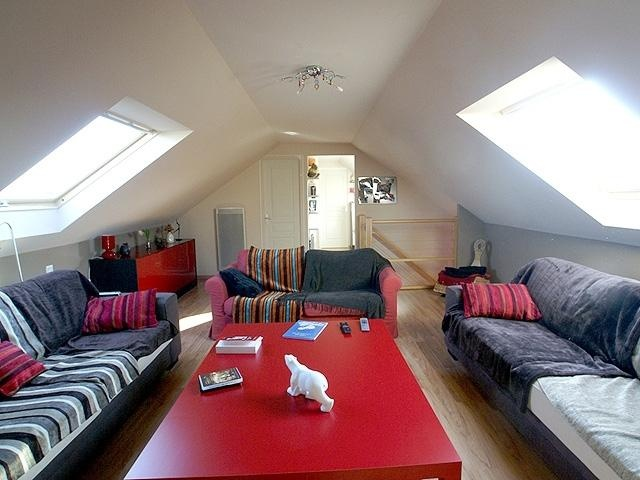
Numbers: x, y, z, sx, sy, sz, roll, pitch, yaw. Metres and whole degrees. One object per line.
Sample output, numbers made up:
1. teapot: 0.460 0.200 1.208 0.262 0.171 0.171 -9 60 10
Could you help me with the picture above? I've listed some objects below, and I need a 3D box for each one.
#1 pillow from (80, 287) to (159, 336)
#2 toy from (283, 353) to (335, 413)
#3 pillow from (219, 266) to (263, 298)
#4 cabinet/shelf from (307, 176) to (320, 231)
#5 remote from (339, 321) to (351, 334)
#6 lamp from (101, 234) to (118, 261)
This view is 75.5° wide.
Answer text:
1. pillow: -1.627 0.586 3.369 0.413 0.361 0.131 -6 -35 -13
2. toy: -0.065 0.808 2.429 0.146 0.208 0.401 2 20 -35
3. pillow: -0.832 0.435 4.279 0.434 0.253 0.395 1 5 14
4. cabinet/shelf: -0.165 -0.837 9.560 0.206 1.179 0.331 2 5 22
5. remote: 0.199 0.676 3.168 0.047 0.034 0.108 -5 18 -5
6. lamp: -2.351 0.069 4.593 0.152 0.255 0.252 -3 5 -29
